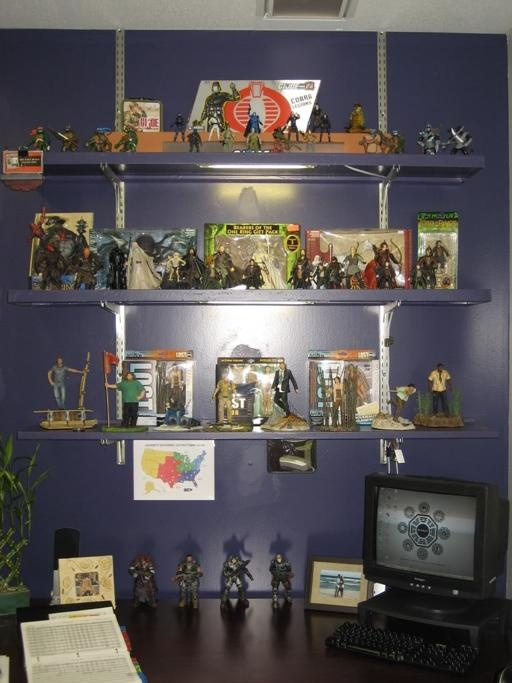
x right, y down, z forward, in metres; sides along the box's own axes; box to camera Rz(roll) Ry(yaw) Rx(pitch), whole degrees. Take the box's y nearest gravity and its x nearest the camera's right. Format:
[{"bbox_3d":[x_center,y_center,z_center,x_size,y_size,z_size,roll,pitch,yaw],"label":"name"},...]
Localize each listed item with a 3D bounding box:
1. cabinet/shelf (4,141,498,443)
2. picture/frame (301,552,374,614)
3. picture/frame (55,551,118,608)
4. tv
[{"bbox_3d":[-0.020,-0.181,2.351,1.562,0.889,0.470,2,13,2],"label":"cabinet/shelf"},{"bbox_3d":[0.268,0.795,2.295,0.250,0.211,0.024,1,-40,6],"label":"picture/frame"},{"bbox_3d":[-0.547,0.763,2.241,0.184,0.186,0.014,0,-15,-11],"label":"picture/frame"},{"bbox_3d":[0.541,0.527,2.250,0.476,0.413,0.369,-2,-4,36],"label":"tv"}]
